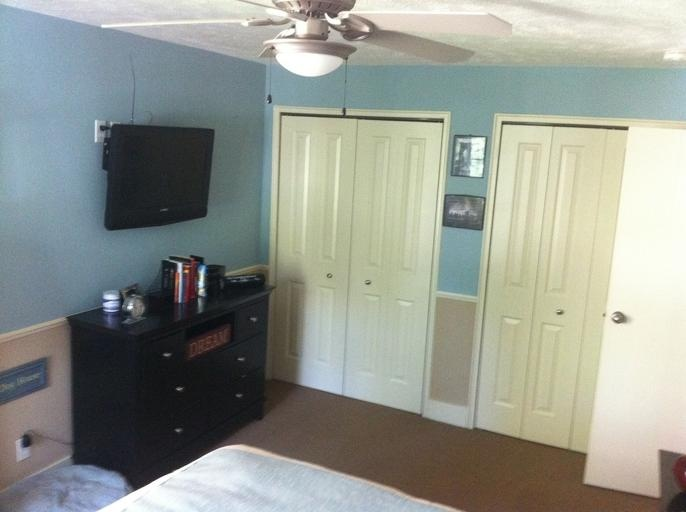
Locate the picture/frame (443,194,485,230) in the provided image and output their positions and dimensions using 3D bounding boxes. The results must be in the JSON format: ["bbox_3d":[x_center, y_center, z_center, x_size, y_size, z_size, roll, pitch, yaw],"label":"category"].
[{"bbox_3d":[0.950,-0.351,4.255,0.283,0.249,0.090,5,7,19],"label":"picture/frame"}]

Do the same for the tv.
[{"bbox_3d":[-1.231,-0.534,3.679,0.132,0.668,0.822,22,22,27],"label":"tv"}]

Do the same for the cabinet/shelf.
[{"bbox_3d":[-1.149,0.834,3.967,0.562,1.049,1.332,10,12,26],"label":"cabinet/shelf"}]

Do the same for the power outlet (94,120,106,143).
[{"bbox_3d":[-1.532,-0.782,3.461,0.038,0.140,0.063,16,13,39],"label":"power outlet"}]
